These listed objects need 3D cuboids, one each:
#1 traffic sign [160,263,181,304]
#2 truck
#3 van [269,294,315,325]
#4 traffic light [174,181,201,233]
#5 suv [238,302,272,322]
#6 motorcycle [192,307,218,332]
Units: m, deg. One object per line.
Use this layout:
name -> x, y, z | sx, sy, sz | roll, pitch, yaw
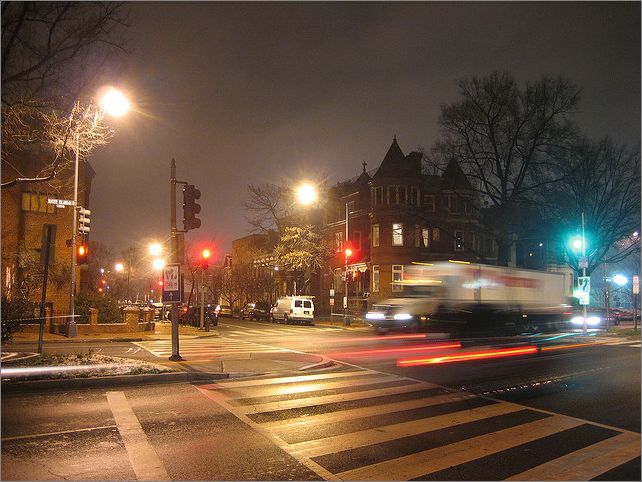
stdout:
traffic sign -> -5.038, 1.435, 19.375 | 0.625, 1.250, 0.503 | -2, -8, 2
truck -> 9.283, 2.973, 32.021 | 10.155, 3.437, 2.879 | 5, 1, -17
van -> -2.290, 5.658, 46.540 | 4.144, 2.462, 1.512 | -11, -13, 43
traffic light -> -4.466, -1.188, 19.689 | 0.615, 1.662, 0.416 | -1, -8, -2
suv -> -5.890, 6.423, 52.468 | 1.385, 1.175, 3.092 | 4, -3, -26
motorcycle -> -8.438, 5.687, 42.032 | 1.428, 1.265, 2.467 | 1, -3, -17
